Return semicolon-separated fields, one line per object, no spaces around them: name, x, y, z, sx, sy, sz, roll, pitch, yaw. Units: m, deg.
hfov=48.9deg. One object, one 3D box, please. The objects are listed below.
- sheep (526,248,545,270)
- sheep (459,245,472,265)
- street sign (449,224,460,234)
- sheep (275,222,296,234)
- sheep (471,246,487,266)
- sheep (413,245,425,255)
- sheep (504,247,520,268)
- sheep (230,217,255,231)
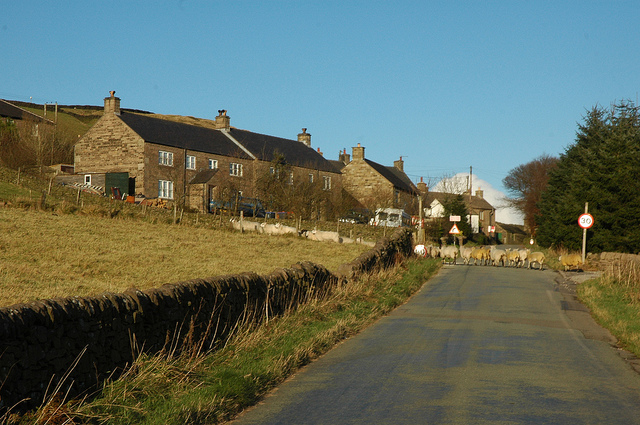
sheep;10.585;2.374;34.813;0.767;0.882;2.262;3;6;13
sheep;7.955;2.406;38.519;0.610;0.910;2.420;3;6;12
street sign;10.498;1.274;55.693;1.098;1.076;0.138;2;-3;-4
sheep;-2.273;1.038;45.253;1.269;0.691;0.583;20;11;0
sheep;8.612;2.370;38.237;0.726;1.015;1.789;2;6;9
sheep;5.481;2.039;39.090;0.353;0.431;0.470;3;14;8
sheep;10.002;2.436;36.798;0.750;0.946;1.973;3;6;15
sheep;-5.062;0.774;45.386;1.822;0.643;1.069;6;8;36
